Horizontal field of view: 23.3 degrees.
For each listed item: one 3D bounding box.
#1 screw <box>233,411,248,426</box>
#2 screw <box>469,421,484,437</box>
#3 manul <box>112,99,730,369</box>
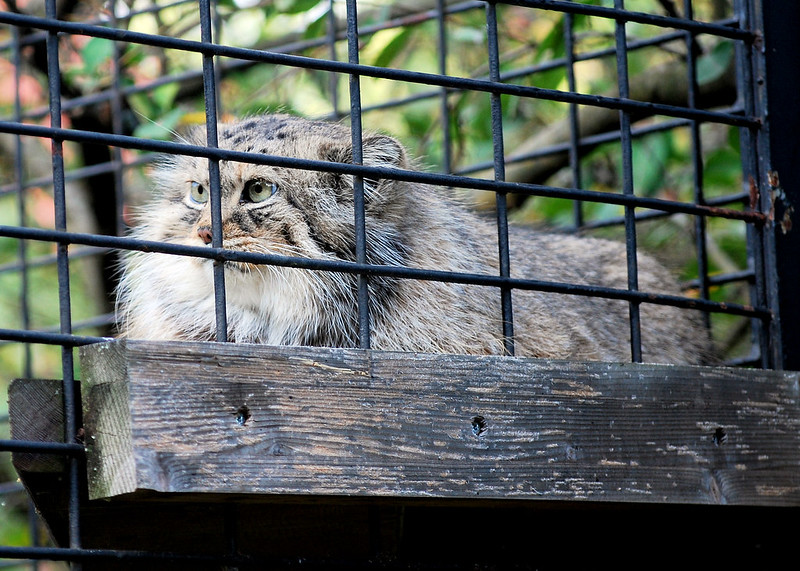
[{"bbox_3d":[-0.519,0.435,6.277,0.039,0.045,0.016,14,-12,-13],"label":"screw"},{"bbox_3d":[0.249,0.479,6.450,0.053,0.045,0.013,3,-3,-24],"label":"screw"},{"bbox_3d":[0.188,-0.087,7.794,2.255,0.799,1.068,6,-11,-28],"label":"manul"}]
